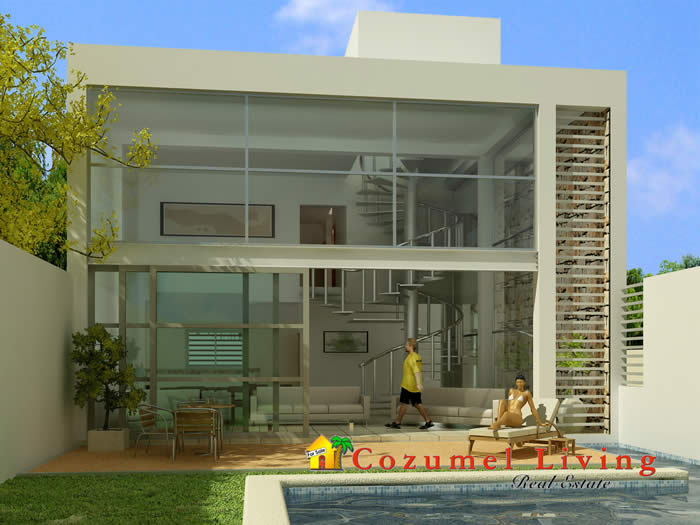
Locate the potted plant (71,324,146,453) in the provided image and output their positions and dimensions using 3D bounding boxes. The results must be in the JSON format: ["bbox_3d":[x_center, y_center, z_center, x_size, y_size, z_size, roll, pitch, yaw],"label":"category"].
[{"bbox_3d":[-3.976,1.918,14.557,1.227,1.769,0.916,3,-8,-19],"label":"potted plant"}]

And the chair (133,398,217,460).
[{"bbox_3d":[-2.613,2.527,13.854,0.956,0.735,1.180,1,-4,-7],"label":"chair"}]

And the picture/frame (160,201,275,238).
[{"bbox_3d":[-2.305,-0.720,15.481,1.977,0.644,0.598,2,-8,-11],"label":"picture/frame"}]

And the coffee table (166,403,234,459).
[{"bbox_3d":[-2.327,2.538,13.650,0.795,0.812,0.857,7,-6,-22],"label":"coffee table"}]

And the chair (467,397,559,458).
[{"bbox_3d":[2.621,2.589,13.979,1.669,0.824,0.651,5,-9,-29],"label":"chair"}]

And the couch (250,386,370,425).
[{"bbox_3d":[-0.671,2.626,16.211,1.481,0.703,2.653,-2,-9,13],"label":"couch"}]
